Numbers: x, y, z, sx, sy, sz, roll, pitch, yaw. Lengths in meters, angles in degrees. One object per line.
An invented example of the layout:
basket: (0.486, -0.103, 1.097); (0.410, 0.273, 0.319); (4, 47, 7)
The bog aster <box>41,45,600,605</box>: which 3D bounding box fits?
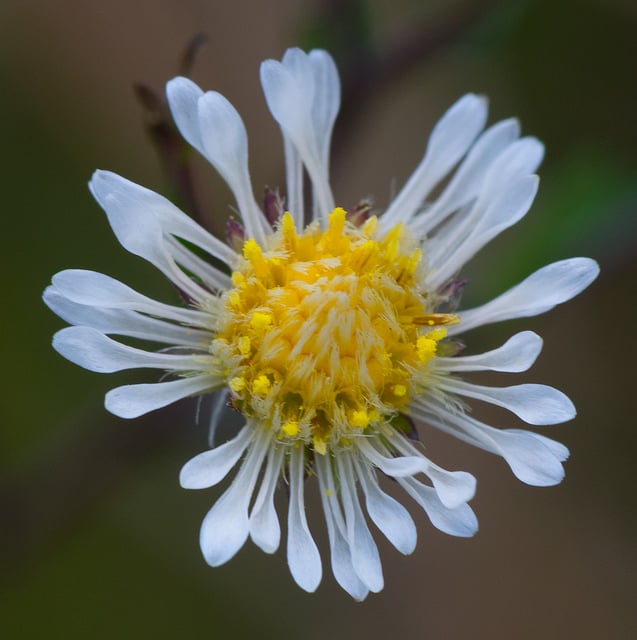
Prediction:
bog aster: (0.021, 0.010, 2.191); (1.304, 0.596, 1.231); (-10, 90, 2)
